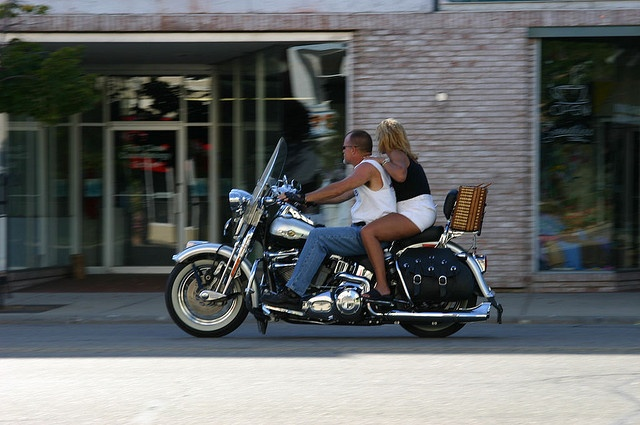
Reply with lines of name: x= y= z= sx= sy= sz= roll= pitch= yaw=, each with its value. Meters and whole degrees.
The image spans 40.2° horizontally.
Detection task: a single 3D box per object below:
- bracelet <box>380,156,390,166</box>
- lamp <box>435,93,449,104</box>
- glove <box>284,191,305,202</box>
bracelet: x=0.772 y=-0.632 z=10.851 sx=0.127 sy=0.039 sz=0.102 roll=-23 pitch=5 yaw=29
lamp: x=1.997 y=-1.878 z=14.453 sx=0.242 sy=0.117 sz=0.196 roll=-1 pitch=6 yaw=2
glove: x=-0.314 y=-0.168 z=10.688 sx=0.243 sy=0.137 sz=0.175 roll=0 pitch=0 yaw=0
